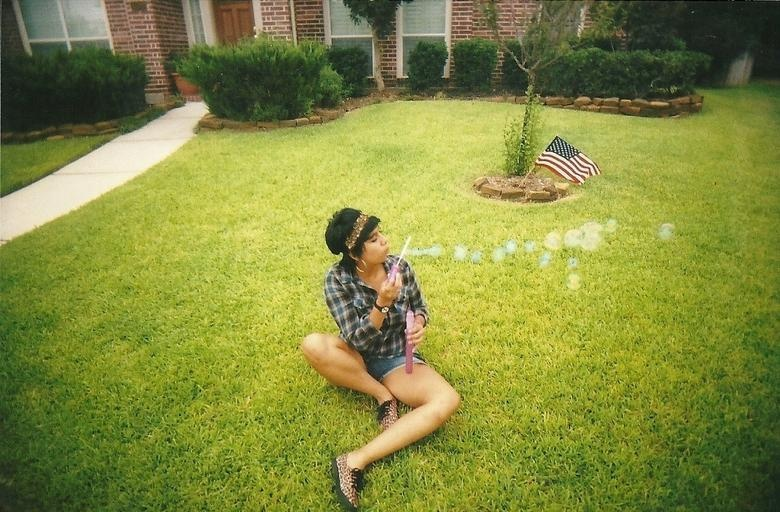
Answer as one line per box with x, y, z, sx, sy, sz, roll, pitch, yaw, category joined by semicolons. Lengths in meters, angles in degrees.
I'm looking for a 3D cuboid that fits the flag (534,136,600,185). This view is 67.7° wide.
2.162;-1.151;7.143;0.742;0.110;0.655;14;71;12;flag

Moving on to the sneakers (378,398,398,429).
-0.019;1.244;4.626;0.128;0.208;0.219;4;65;-24;sneakers

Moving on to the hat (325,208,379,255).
-0.294;-0.261;4.674;0.348;0.418;0.317;22;40;-25;hat

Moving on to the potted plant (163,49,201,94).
-4.540;-4.001;12.769;0.463;0.945;0.809;3;27;7;potted plant
